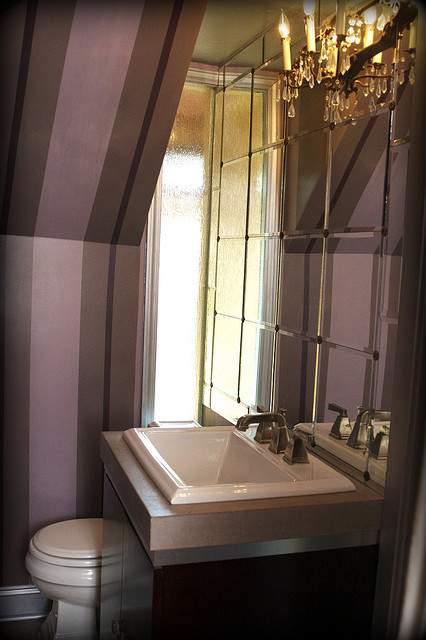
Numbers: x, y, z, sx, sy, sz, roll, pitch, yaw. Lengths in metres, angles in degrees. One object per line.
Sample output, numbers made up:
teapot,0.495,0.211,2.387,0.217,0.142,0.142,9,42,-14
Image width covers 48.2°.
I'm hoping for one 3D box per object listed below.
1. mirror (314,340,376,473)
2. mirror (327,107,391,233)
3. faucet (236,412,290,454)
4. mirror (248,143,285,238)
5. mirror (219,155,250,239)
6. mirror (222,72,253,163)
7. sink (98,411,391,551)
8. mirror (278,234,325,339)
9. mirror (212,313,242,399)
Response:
mirror,0.329,0.220,1.181,0.075,0.285,0.257,-1,5,-7
mirror,0.356,-0.361,1.153,0.014,0.354,0.299,-1,6,-14
faucet,0.138,0.296,1.251,0.128,0.129,0.065,-3,18,-7
mirror,0.212,-0.483,1.801,0.010,0.316,0.267,6,11,-27
mirror,0.100,-0.575,2.193,0.010,0.341,0.266,7,24,27
mirror,0.091,-0.894,2.207,0.175,0.309,0.020,-8,30,-6
sink,0.039,0.348,1.168,0.568,0.205,0.570,1,3,-14
mirror,0.273,-0.102,1.458,0.131,0.325,0.253,-1,11,-18
mirror,0.069,0.145,2.269,0.012,0.383,0.316,2,-4,33
